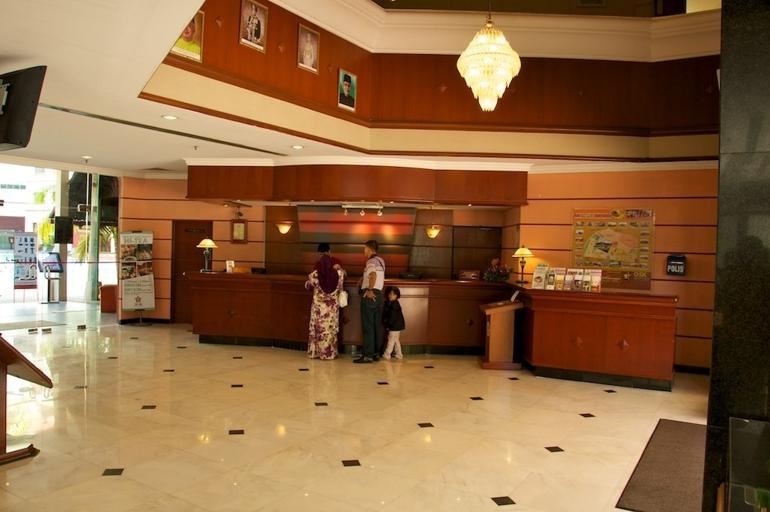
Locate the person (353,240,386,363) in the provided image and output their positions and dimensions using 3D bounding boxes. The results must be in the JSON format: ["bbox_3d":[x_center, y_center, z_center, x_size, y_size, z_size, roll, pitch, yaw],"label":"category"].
[{"bbox_3d":[-0.248,0.756,9.103,0.429,1.965,0.426,1,6,-4],"label":"person"}]

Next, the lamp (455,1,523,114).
[{"bbox_3d":[1.345,-2.477,7.112,0.771,1.144,0.301,2,6,8],"label":"lamp"}]

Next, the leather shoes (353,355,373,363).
[{"bbox_3d":[-0.348,1.703,9.094,0.329,0.133,0.119,3,-5,1],"label":"leather shoes"}]

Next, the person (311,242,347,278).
[{"bbox_3d":[-0.960,0.065,9.840,0.578,0.854,0.310,-2,8,5],"label":"person"}]

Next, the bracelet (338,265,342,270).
[{"bbox_3d":[-0.772,0.199,9.407,0.053,0.065,0.066,-22,7,-12],"label":"bracelet"}]

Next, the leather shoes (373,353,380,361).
[{"bbox_3d":[-0.136,1.665,9.152,0.102,0.095,0.171,-19,-2,-33],"label":"leather shoes"}]

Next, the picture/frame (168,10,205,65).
[{"bbox_3d":[-2.372,-2.649,6.621,0.078,0.609,0.456,5,7,30],"label":"picture/frame"}]
